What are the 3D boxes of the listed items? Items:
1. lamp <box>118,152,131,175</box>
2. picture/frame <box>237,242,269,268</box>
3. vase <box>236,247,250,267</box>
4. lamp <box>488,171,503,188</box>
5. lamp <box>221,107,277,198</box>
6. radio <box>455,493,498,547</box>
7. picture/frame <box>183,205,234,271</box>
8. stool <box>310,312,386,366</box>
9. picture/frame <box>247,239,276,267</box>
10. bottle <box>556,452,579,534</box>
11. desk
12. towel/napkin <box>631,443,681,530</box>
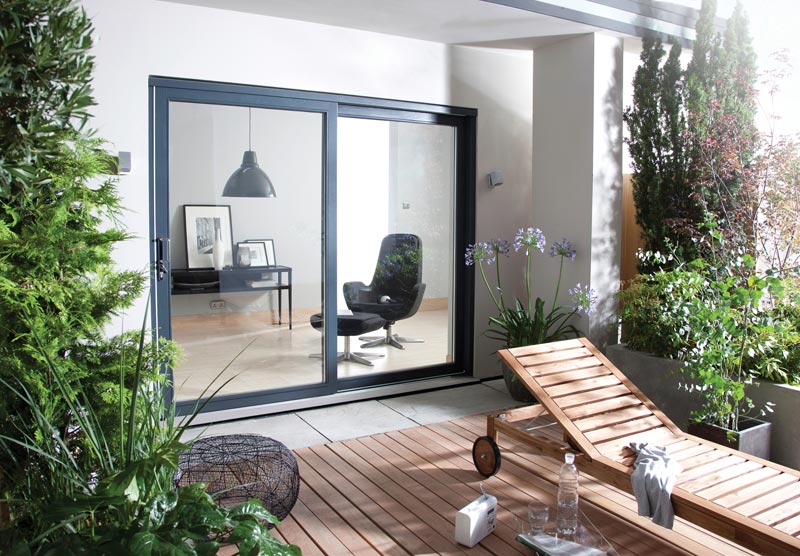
[{"bbox_3d":[-2.268,-0.949,4.402,0.088,0.191,0.081,-5,10,-26],"label":"lamp"},{"bbox_3d":[-1.429,-0.225,5.142,0.231,0.211,0.023,-4,3,-29],"label":"picture/frame"},{"bbox_3d":[-1.498,-0.205,5.117,0.157,0.203,0.150,-4,7,-27],"label":"vase"},{"bbox_3d":[1.078,-1.111,6.020,0.136,0.192,0.172,-2,1,-19],"label":"lamp"},{"bbox_3d":[-1.449,-1.362,5.128,0.546,1.146,0.544,-6,15,-27],"label":"lamp"},{"bbox_3d":[0.465,1.504,3.345,0.168,0.217,0.295,9,13,44],"label":"radio"},{"bbox_3d":[-1.776,-0.383,4.954,0.409,0.581,0.058,-7,11,-35],"label":"picture/frame"},{"bbox_3d":[-0.580,0.655,5.603,0.603,0.601,0.564,9,6,42],"label":"stool"},{"bbox_3d":[-1.358,-0.250,5.166,0.249,0.218,0.026,-4,3,-27],"label":"picture/frame"},{"bbox_3d":[0.991,1.235,3.128,0.106,0.350,0.401,3,10,17],"label":"bottle"},{"bbox_3d":[-1.623,0.157,5.070,1.018,0.495,0.401,3,4,-26],"label":"desk"},{"bbox_3d":[1.570,1.257,3.300,0.278,0.283,0.478,5,10,25],"label":"towel/napkin"}]
